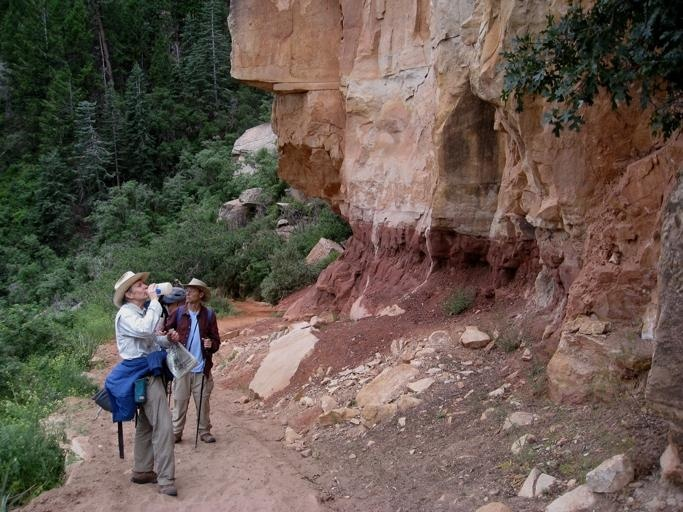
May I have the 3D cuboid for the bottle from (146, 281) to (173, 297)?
[{"bbox_3d":[-2.312,0.425,6.801,0.243,0.192,0.169,-6,12,28],"label":"bottle"}]

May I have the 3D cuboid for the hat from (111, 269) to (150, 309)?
[{"bbox_3d":[-2.650,0.372,6.504,0.127,0.471,0.450,32,0,-4],"label":"hat"}]

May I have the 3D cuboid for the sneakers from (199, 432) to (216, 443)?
[{"bbox_3d":[-2.018,2.744,7.998,0.262,0.135,0.114,-3,7,24],"label":"sneakers"}]

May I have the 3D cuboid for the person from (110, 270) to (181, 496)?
[{"bbox_3d":[-2.376,1.531,6.546,0.938,2.537,0.793,5,14,17],"label":"person"}]
